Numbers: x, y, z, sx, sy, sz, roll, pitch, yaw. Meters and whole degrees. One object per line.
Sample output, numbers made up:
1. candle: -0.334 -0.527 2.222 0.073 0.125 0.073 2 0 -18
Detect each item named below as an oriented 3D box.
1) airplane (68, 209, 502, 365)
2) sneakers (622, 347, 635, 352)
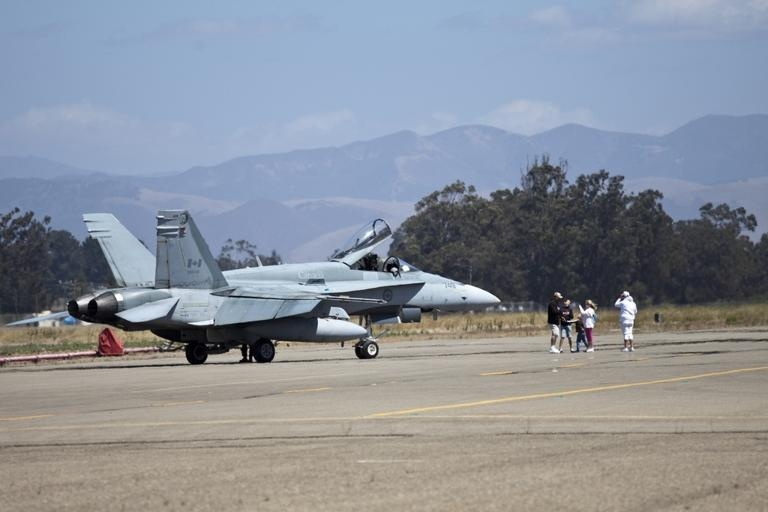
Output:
1. airplane: -2.731 0.736 37.804 16.124 5.984 7.225 -4 -3 -11
2. sneakers: 8.575 3.279 37.215 0.192 0.209 0.508 1 3 -11
